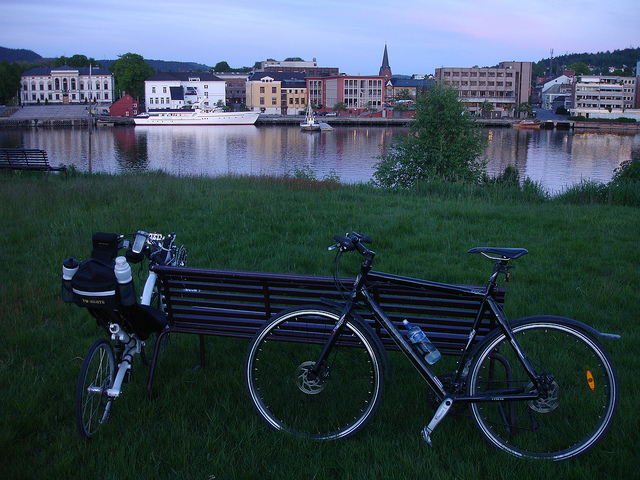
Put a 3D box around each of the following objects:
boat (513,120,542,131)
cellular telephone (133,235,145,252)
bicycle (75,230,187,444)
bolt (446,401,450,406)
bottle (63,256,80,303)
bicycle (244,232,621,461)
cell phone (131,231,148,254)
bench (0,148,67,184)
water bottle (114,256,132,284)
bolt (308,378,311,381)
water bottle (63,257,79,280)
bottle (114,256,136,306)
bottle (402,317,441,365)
[{"bbox_3d":[32.684,-17.830,101.742,3.414,0.896,4.933,-5,17,-17],"label":"boat"},{"bbox_3d":[-1.481,0.036,5.330,0.056,0.140,0.131,11,-7,3],"label":"cellular telephone"},{"bbox_3d":[-1.627,0.697,5.554,0.648,1.038,1.824,3,33,9],"label":"bicycle"},{"bbox_3d":[0.951,1.217,4.847,0.028,0.031,0.007,5,-11,5],"label":"bolt"},{"bbox_3d":[-1.921,0.307,5.027,0.138,0.348,0.244,-6,16,-22],"label":"bottle"},{"bbox_3d":[0.897,0.685,5.250,2.775,1.607,1.202,2,15,7],"label":"bicycle"},{"bbox_3d":[-1.478,0.026,5.334,0.081,0.189,0.043,12,-15,2],"label":"cell phone"},{"bbox_3d":[-7.519,-1.951,16.610,2.204,0.710,1.220,5,17,17],"label":"bench"},{"bbox_3d":[-1.508,0.230,4.972,0.118,0.212,0.100,-5,16,-19],"label":"water bottle"},{"bbox_3d":[-0.076,1.058,4.938,0.028,0.021,0.011,4,1,-6],"label":"bolt"},{"bbox_3d":[-1.911,0.231,4.995,0.097,0.193,0.105,9,12,-2],"label":"water bottle"},{"bbox_3d":[-1.510,0.315,5.027,0.134,0.406,0.162,-5,16,-17],"label":"bottle"},{"bbox_3d":[0.780,0.770,5.073,0.273,0.325,0.405,1,16,4],"label":"bottle"}]
